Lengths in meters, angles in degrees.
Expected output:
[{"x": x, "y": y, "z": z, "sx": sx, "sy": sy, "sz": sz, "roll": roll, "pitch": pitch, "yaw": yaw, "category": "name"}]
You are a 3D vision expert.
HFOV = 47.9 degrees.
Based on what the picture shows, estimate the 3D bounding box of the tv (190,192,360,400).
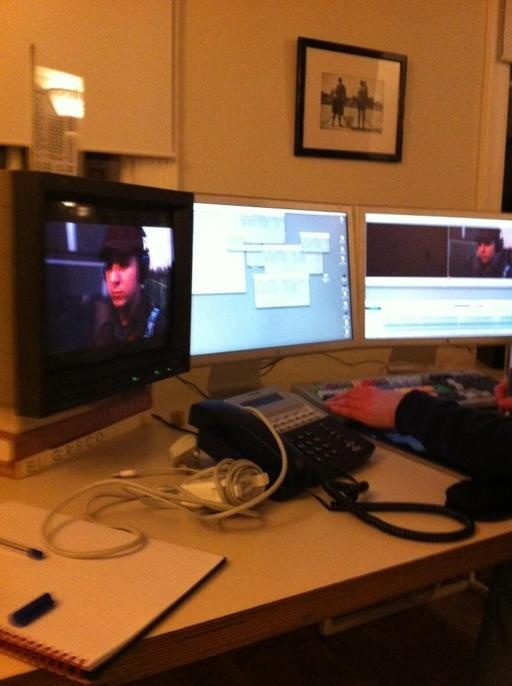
[{"x": 0.034, "y": -0.104, "z": 1.200, "sx": 0.489, "sy": 0.445, "sz": 0.143, "roll": -5, "pitch": 5, "yaw": -37, "category": "tv"}]

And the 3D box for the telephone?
[{"x": 0.039, "y": 0.139, "z": 0.953, "sx": 0.299, "sy": 0.087, "sz": 0.299, "roll": 0, "pitch": 13, "yaw": -17, "category": "telephone"}]
